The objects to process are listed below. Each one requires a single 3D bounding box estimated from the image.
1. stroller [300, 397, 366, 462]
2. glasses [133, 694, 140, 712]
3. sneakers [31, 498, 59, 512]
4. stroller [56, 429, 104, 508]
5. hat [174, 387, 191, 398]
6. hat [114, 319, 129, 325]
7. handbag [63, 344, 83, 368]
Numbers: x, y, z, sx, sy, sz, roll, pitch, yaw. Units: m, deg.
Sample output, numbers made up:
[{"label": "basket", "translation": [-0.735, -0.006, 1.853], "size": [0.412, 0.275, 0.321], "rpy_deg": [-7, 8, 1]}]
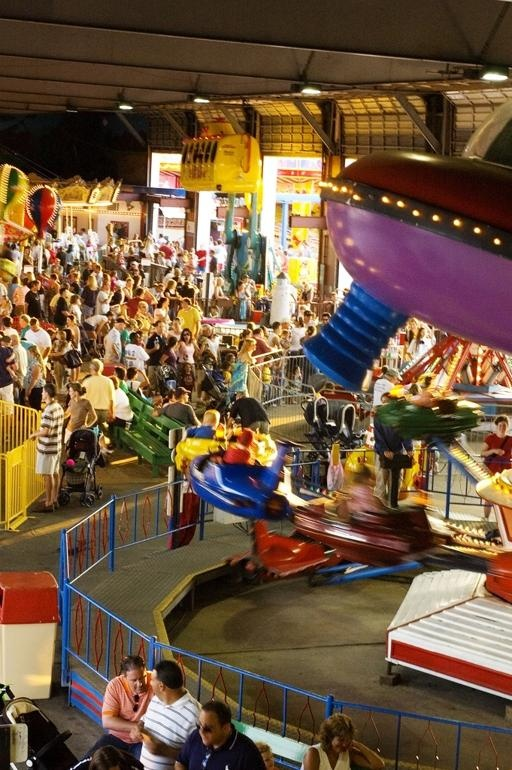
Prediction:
[{"label": "stroller", "translation": [1.411, 0.771, 12.096], "size": [1.019, 1.267, 1.263], "rpy_deg": [1, -1, -24]}, {"label": "glasses", "translation": [-0.634, 1.682, 3.311], "size": [0.029, 0.072, 0.025], "rpy_deg": [3, 1, -5]}, {"label": "sneakers", "translation": [-3.061, 1.747, 9.113], "size": [0.424, 0.154, 0.148], "rpy_deg": [5, 8, 8]}, {"label": "stroller", "translation": [-2.593, 1.201, 9.373], "size": [0.634, 0.989, 0.841], "rpy_deg": [3, 1, -16]}, {"label": "hat", "translation": [-1.261, 0.113, 10.701], "size": [0.191, 0.210, 0.220], "rpy_deg": [4, -10, 26]}, {"label": "hat", "translation": [-2.953, -1.384, 13.586], "size": [0.206, 0.134, 0.193], "rpy_deg": [3, 1, -17]}, {"label": "handbag", "translation": [-3.937, -0.579, 13.322], "size": [0.324, 0.412, 0.540], "rpy_deg": [3, 1, 14]}]
